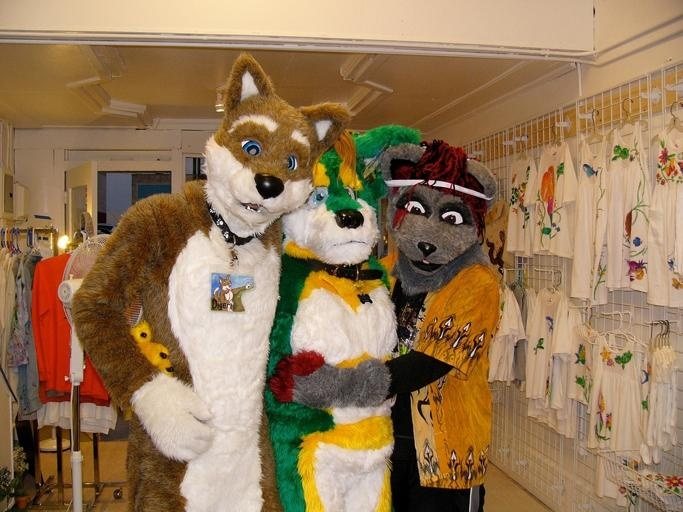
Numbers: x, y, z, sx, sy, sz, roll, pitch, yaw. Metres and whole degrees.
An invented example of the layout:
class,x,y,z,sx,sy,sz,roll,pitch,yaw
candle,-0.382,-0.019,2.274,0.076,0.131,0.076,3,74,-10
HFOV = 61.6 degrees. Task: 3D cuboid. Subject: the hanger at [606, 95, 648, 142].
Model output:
class,x,y,z,sx,sy,sz,roll,pitch,yaw
hanger,1.764,-0.836,3.501,0.010,0.234,0.329,1,4,-19
